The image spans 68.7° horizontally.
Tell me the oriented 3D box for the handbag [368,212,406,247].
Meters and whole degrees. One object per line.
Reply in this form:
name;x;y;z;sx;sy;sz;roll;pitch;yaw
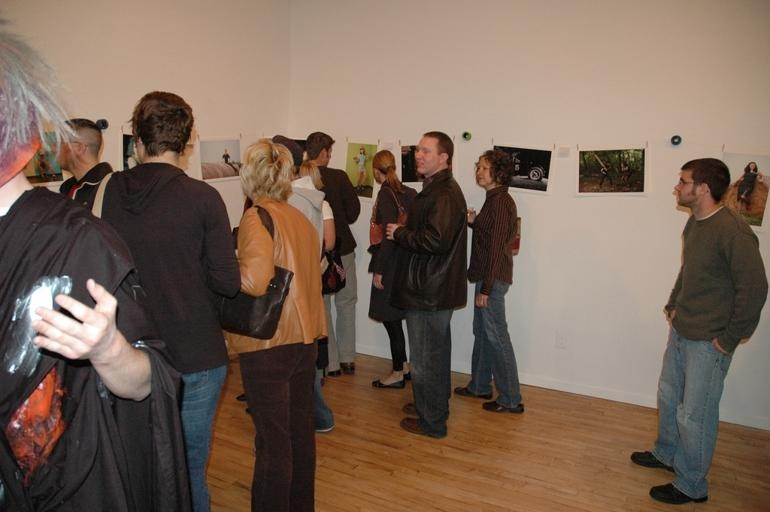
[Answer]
handbag;0.009;-0.206;4.455;0.295;0.286;0.221;10;18;36

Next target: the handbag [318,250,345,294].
handbag;-0.448;0.165;4.290;0.190;0.367;0.259;-6;-9;35

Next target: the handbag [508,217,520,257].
handbag;1.069;-0.141;4.546;0.077;0.262;0.251;6;9;16

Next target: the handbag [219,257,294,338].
handbag;-0.653;0.245;2.838;0.385;0.384;0.175;4;-18;42

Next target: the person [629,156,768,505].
person;1.871;0.431;3.344;0.524;1.958;0.676;4;15;12
